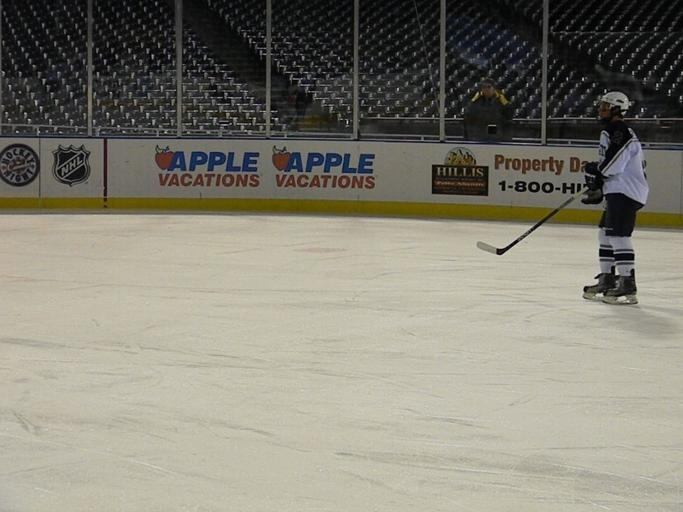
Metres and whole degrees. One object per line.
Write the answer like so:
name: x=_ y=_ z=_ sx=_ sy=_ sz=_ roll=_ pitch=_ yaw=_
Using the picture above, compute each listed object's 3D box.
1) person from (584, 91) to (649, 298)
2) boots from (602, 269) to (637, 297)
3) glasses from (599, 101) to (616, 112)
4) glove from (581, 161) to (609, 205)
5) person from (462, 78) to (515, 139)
person: x=2.758 y=-0.582 z=9.311 sx=0.632 sy=2.106 sz=0.779 roll=4 pitch=12 yaw=16
boots: x=2.765 y=0.259 z=9.222 sx=0.289 sy=0.290 sz=0.363 roll=-2 pitch=12 yaw=-11
glasses: x=2.715 y=-1.527 z=9.380 sx=0.128 sy=0.118 sz=0.097 roll=15 pitch=-4 yaw=19
glove: x=2.581 y=-0.741 z=9.518 sx=0.278 sy=0.450 sz=0.169 roll=-16 pitch=20 yaw=-38
person: x=2.502 y=-2.713 z=16.189 sx=1.021 sy=1.318 sz=0.799 roll=2 pitch=11 yaw=4
